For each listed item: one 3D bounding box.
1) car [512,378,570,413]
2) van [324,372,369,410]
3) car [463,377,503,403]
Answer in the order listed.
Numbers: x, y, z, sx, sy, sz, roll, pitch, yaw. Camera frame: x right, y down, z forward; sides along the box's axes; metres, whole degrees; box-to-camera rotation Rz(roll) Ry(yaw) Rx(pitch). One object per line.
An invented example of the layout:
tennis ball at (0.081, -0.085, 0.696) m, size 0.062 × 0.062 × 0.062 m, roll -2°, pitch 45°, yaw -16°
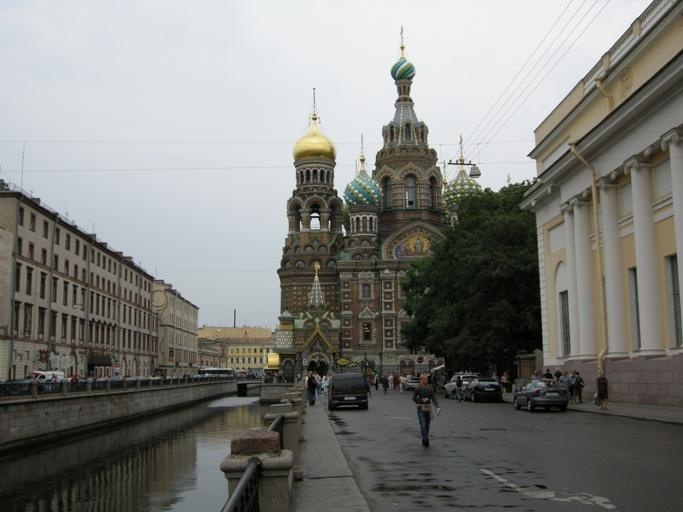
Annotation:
car at (8.820, 6.178, 33.480) m, size 1.489 × 1.503 × 2.656 m, roll 3°, pitch -14°, yaw -17°
van at (0.392, 7.015, 39.331) m, size 2.005 × 2.050 × 2.231 m, roll -1°, pitch -13°, yaw -2°
car at (8.068, 7.659, 42.819) m, size 1.349 × 1.100 × 3.124 m, roll -1°, pitch -5°, yaw 7°
